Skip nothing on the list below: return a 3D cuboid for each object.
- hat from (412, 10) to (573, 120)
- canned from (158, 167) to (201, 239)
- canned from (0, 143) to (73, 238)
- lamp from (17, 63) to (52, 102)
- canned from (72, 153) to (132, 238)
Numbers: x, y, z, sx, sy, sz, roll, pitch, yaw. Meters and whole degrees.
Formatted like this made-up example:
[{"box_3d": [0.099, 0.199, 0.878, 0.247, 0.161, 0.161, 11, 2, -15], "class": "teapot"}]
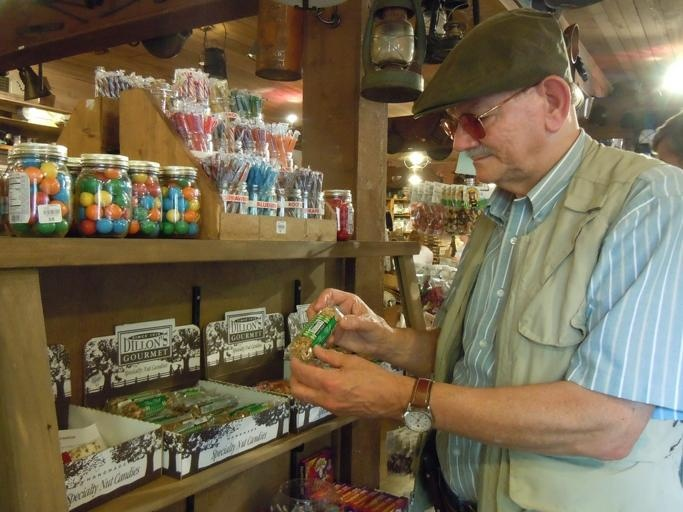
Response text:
[{"box_3d": [0.456, -0.574, 1.620, 0.402, 0.209, 0.299, -10, 2, -6], "class": "hat"}, {"box_3d": [-0.521, -0.174, 1.727, 0.129, 0.217, 0.136, 3, 5, 5], "class": "canned"}, {"box_3d": [-0.767, -0.165, 1.350, 0.155, 0.237, 0.079, -6, 7, -30], "class": "canned"}, {"box_3d": [-2.568, -1.487, 4.430, 0.205, 0.166, 0.337, -18, -23, -30], "class": "lamp"}, {"box_3d": [-0.676, -0.167, 1.523, 0.137, 0.230, 0.152, 12, 11, 39], "class": "canned"}]
